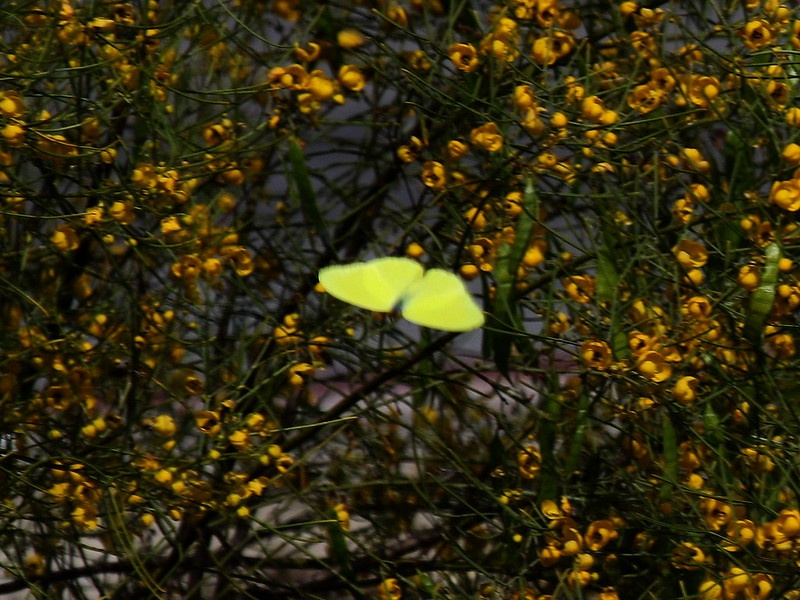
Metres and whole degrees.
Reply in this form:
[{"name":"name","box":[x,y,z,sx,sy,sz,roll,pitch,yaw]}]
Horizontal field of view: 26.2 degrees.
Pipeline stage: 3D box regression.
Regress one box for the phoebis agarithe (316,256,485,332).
[{"name":"phoebis agarithe","box":[0.003,-0.015,2.708,0.337,0.115,0.033,15,-26,53]}]
